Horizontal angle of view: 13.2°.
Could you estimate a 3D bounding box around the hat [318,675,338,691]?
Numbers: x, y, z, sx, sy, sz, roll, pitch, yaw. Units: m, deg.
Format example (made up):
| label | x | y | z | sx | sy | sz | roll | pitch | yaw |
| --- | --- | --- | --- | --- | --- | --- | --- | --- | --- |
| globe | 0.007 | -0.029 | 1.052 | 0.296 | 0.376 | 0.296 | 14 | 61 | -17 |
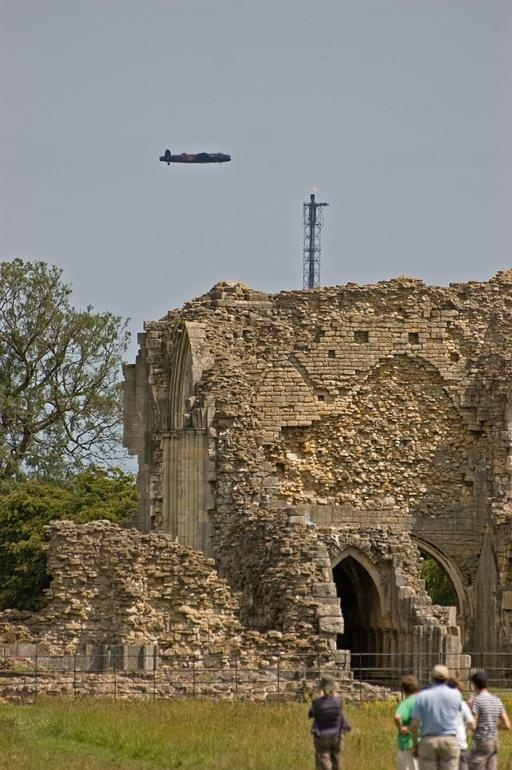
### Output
| label | x | y | z | sx | sy | sz | roll | pitch | yaw |
| --- | --- | --- | --- | --- | --- | --- | --- | --- | --- |
| hat | 0.955 | 3.781 | 28.175 | 0.160 | 0.117 | 0.191 | 3 | 0 | 25 |
